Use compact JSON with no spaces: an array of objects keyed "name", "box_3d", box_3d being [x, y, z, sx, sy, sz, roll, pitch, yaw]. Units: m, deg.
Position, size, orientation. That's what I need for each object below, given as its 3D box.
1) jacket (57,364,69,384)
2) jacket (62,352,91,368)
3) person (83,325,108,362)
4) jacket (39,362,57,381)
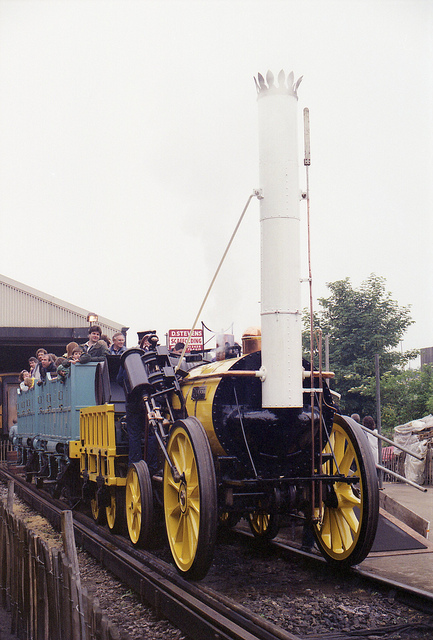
[{"name":"jacket","box_3d":[-2.443,0.876,11.758,0.155,0.292,1.014,0,-4,-13]},{"name":"jacket","box_3d":[-2.100,0.616,11.190,0.254,0.140,0.343,-10,2,-26]},{"name":"person","box_3d":[-2.094,0.419,12.677,0.458,0.806,0.476,-2,-14,-8]},{"name":"jacket","box_3d":[-3.162,0.972,13.928,0.203,0.404,0.377,8,-15,-22]}]
